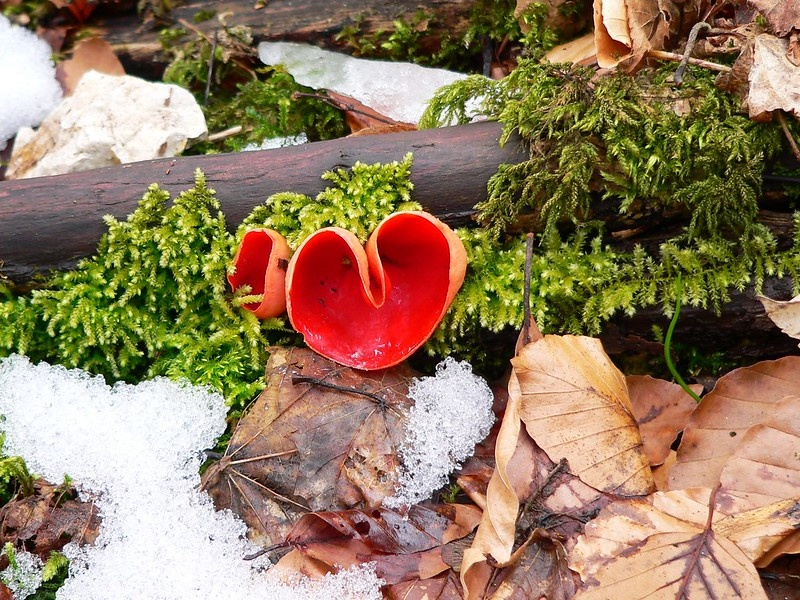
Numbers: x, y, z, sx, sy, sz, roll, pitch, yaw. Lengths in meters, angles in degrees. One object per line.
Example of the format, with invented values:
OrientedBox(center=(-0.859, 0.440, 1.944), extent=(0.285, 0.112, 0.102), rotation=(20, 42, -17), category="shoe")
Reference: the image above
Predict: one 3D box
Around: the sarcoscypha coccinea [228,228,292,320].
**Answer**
OrientedBox(center=(-0.584, -0.118, 3.389), extent=(0.293, 0.273, 0.389), rotation=(18, 94, 17), category="sarcoscypha coccinea")
